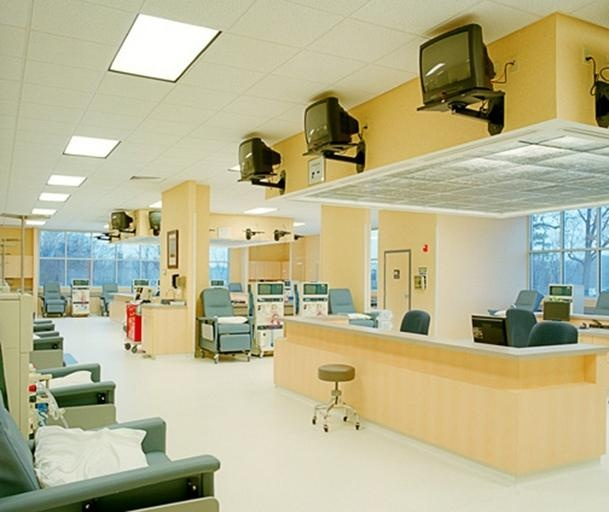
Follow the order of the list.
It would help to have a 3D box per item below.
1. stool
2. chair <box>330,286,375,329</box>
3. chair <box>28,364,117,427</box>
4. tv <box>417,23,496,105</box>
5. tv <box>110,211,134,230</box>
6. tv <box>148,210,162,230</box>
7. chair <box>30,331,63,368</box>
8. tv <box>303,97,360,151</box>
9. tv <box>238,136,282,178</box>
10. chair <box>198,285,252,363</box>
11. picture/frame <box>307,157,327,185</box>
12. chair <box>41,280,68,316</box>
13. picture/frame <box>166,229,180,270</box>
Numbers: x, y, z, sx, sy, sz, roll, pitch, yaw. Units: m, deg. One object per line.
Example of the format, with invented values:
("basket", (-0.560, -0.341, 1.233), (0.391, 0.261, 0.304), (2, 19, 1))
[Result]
("stool", (0.354, 1.553, 5.546), (0.547, 0.609, 0.544), (1, -5, 3))
("chair", (1.045, 1.205, 11.027), (0.702, 0.905, 1.069), (1, 1, -39))
("chair", (-1.856, 1.110, 4.066), (0.594, 0.711, 0.689), (-1, 2, -29))
("tv", (1.214, -1.487, 3.989), (0.372, 0.496, 0.543), (-11, 7, -32))
("tv", (-4.977, -0.933, 14.076), (0.584, 0.438, 0.581), (1, 4, 43))
("tv", (-4.081, -0.916, 13.814), (0.217, 0.645, 0.469), (0, -1, -28))
("chair", (-3.162, 1.167, 6.159), (0.386, 0.450, 0.482), (-3, 6, -40))
("tv", (0.265, -1.373, 5.517), (0.586, 0.428, 0.569), (-3, -2, -29))
("tv", (-0.553, -1.258, 6.904), (0.569, 0.418, 0.561), (1, -4, -36))
("chair", (-1.552, 1.316, 9.851), (0.801, 1.372, 1.086), (0, -1, -32))
("picture/frame", (0.168, -1.065, 6.351), (0.039, 0.369, 0.376), (-1, 3, -28))
("chair", (-9.383, 1.561, 19.058), (0.984, 1.455, 1.302), (0, -3, -30))
("picture/frame", (-2.735, -0.133, 10.620), (0.066, 0.962, 0.822), (2, -3, -27))
